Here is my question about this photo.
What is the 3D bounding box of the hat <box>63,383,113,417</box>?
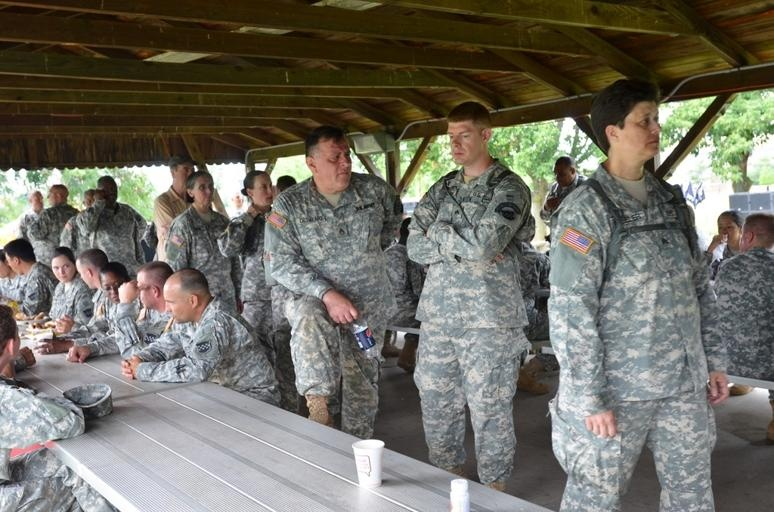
[{"bbox_3d":[-1.547,0.747,3.193,0.214,0.071,0.193,11,15,17],"label":"hat"}]

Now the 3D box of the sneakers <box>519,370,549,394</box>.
[{"bbox_3d":[1.354,1.186,5.794,0.185,0.096,0.281,-4,14,-22],"label":"sneakers"}]

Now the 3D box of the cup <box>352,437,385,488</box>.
[{"bbox_3d":[-0.058,0.850,2.549,0.212,0.164,0.185,-2,-6,-3],"label":"cup"}]
